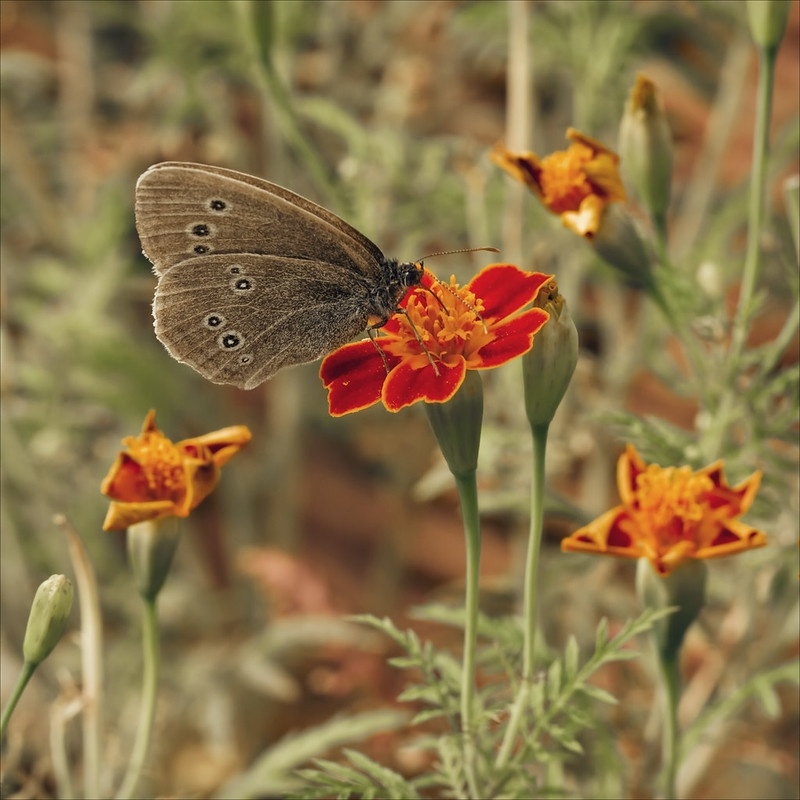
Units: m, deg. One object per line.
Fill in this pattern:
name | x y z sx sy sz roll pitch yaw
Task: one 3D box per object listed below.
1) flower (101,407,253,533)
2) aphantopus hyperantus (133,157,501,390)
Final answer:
flower | -0.245 0.080 1.166 0.154 0.176 0.073 36 140 58
aphantopus hyperantus | -0.066 -0.145 1.220 0.193 0.460 0.249 -7 -79 -48
